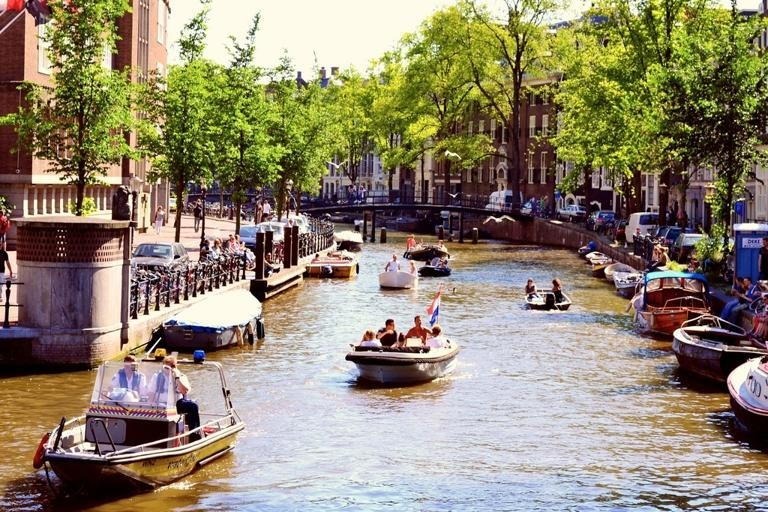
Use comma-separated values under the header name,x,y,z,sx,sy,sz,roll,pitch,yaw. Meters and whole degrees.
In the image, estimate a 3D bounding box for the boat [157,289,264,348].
name,x,y,z,sx,sy,sz,roll,pitch,yaw
boat,-6.602,2.509,40.911,5.223,2.425,2.536,-1,-5,-7

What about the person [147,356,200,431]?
name,x,y,z,sx,sy,sz,roll,pitch,yaw
person,-5.573,3.554,27.443,1.123,2.042,1.430,0,-1,-1

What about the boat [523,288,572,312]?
name,x,y,z,sx,sy,sz,roll,pitch,yaw
boat,8.037,2.165,51.741,1.952,0.821,2.726,-1,3,-6

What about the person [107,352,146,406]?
name,x,y,z,sx,sy,sz,roll,pitch,yaw
person,-6.717,3.155,27.008,0.735,1.436,0.817,2,-4,-12
